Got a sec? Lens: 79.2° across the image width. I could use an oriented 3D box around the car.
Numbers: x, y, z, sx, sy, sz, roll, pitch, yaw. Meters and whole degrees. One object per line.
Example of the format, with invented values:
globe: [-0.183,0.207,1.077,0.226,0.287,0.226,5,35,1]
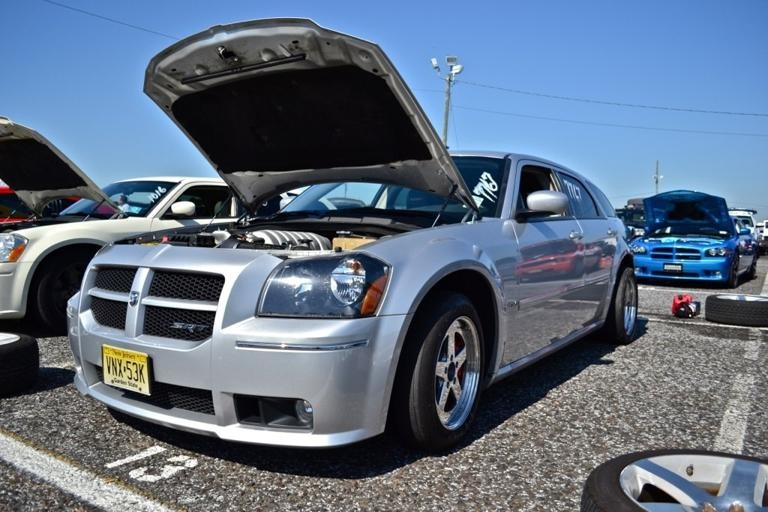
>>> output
car: [0.375,-0.132,4.408,2.808,1.716,4.927,-1,-1,45]
